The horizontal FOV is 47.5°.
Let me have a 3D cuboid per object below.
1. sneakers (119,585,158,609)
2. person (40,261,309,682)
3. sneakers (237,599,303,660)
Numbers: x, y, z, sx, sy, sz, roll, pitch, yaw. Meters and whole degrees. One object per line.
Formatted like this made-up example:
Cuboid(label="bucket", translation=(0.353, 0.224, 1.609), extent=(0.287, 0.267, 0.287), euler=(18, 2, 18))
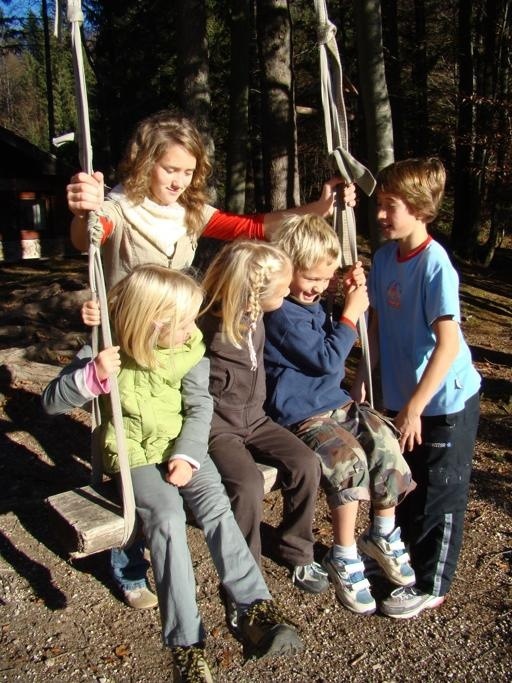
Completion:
Cuboid(label="sneakers", translation=(-0.468, 1.038, 2.392), extent=(0.162, 0.063, 0.083), euler=(1, 15, 27))
Cuboid(label="person", translation=(-0.250, 0.467, 1.967), extent=(0.649, 1.398, 0.841), euler=(-8, 16, -36))
Cuboid(label="sneakers", translation=(0.034, 0.893, 1.770), extent=(0.102, 0.127, 0.300), euler=(-42, -4, -8))
